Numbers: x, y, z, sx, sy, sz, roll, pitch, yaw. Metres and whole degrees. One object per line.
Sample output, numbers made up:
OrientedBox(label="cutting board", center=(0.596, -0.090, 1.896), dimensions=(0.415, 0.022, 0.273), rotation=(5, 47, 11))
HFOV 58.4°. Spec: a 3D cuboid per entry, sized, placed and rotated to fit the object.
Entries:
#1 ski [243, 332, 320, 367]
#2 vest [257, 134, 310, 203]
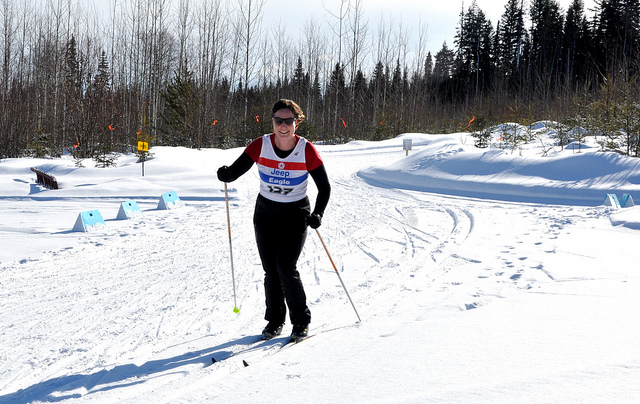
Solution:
OrientedBox(label="ski", center=(-0.577, 3.222, 13.383), dimensions=(1.112, 0.292, 0.252), rotation=(-5, 10, -28))
OrientedBox(label="vest", center=(-0.915, -0.805, 13.610), dimensions=(1.199, 1.536, 0.883), rotation=(6, 1, -9))
